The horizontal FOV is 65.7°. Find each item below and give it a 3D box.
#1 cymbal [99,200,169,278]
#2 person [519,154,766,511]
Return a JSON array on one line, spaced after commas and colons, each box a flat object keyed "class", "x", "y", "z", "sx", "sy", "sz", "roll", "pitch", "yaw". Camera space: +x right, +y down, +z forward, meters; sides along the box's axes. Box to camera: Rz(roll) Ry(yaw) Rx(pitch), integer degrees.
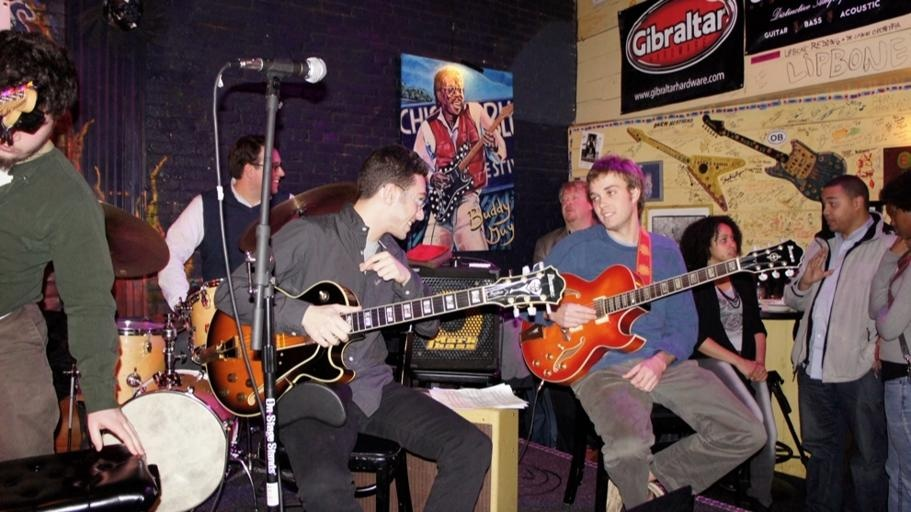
[{"class": "cymbal", "x": -2.579, "y": -0.094, "z": 5.699, "sx": 0.504, "sy": 0.163, "sz": 0.688, "roll": -29, "pitch": -38, "yaw": 7}, {"class": "person", "x": 1.465, "y": 0.523, "z": 5.521, "sx": 1.414, "sy": 2.674, "sz": 0.551, "roll": -2, "pitch": -3, "yaw": -7}]
